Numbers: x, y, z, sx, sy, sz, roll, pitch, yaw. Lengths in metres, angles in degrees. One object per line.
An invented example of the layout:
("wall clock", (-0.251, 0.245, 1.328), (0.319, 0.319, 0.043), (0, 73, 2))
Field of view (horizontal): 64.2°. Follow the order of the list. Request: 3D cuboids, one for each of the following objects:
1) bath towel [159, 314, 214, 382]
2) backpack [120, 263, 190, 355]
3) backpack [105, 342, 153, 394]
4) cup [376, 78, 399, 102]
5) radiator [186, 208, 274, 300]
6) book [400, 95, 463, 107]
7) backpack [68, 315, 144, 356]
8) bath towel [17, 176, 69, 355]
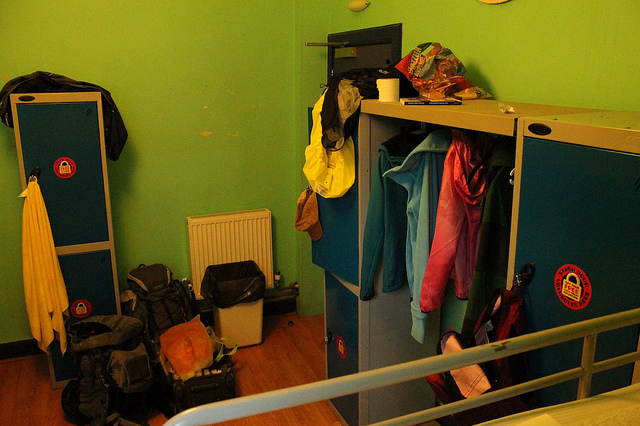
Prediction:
("bath towel", (-0.934, 0.955, 3.722), (0.400, 0.137, 0.473), (-14, 43, -29))
("backpack", (-1.270, 0.751, 3.890), (0.540, 0.739, 0.377), (-5, 1, -41))
("backpack", (-1.309, 1.064, 3.491), (0.272, 0.226, 0.224), (-12, 21, -33))
("cup", (0.382, -0.679, 2.830), (0.122, 0.119, 0.131), (0, 18, 0))
("radiator", (-0.807, 0.343, 4.368), (0.693, 0.672, 0.241), (-7, 15, -18))
("book", (0.583, -0.583, 2.686), (0.314, 0.043, 0.306), (2, 18, 7))
("backpack", (-1.520, 0.852, 3.624), (0.319, 0.116, 0.315), (-4, 8, -38))
("bath towel", (-1.985, 0.392, 3.624), (0.278, 1.270, 0.236), (12, 21, 35))
